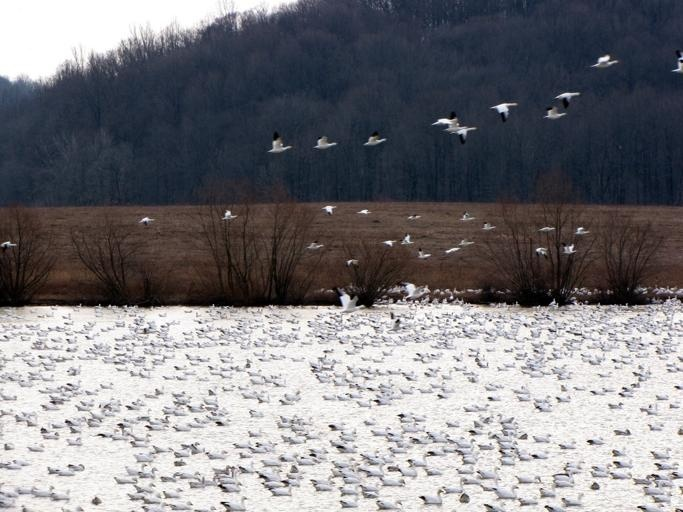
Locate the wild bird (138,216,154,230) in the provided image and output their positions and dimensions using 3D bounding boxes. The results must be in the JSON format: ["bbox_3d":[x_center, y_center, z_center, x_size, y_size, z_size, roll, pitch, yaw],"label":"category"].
[{"bbox_3d":[-12.970,-2.156,103.087,0.878,0.817,0.351,-3,-13,0],"label":"wild bird"}]

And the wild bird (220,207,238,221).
[{"bbox_3d":[-6.195,-2.319,85.337,1.099,0.400,1.052,5,1,-3],"label":"wild bird"}]
